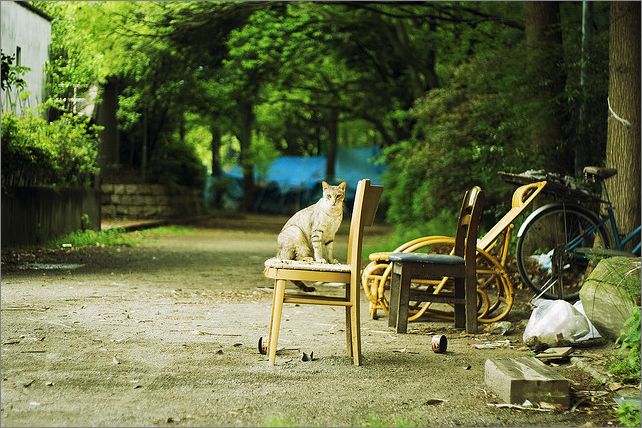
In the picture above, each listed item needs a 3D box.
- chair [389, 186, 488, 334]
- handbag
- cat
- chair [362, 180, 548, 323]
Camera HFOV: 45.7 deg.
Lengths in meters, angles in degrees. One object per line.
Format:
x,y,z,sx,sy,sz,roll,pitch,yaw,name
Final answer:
1.927,0.644,12.058,1.726,2.956,1.705,1,-1,0,chair
3.159,1.478,10.398,0.745,0.570,0.442,-18,-29,4,handbag
-0.179,0.171,11.192,1.216,1.327,0.531,-2,-1,32,cat
2.157,0.621,12.067,2.411,2.278,1.570,0,-3,8,chair
